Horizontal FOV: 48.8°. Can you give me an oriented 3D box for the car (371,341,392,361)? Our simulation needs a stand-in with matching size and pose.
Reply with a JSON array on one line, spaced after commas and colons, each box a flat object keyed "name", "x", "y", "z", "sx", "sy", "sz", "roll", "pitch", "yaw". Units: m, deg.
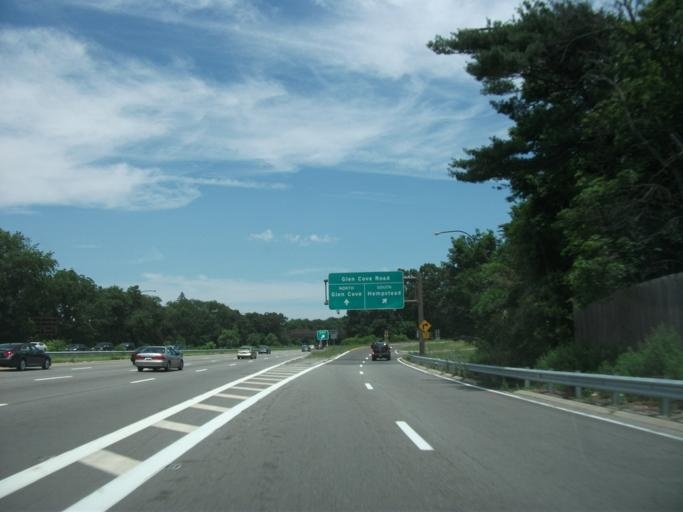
[{"name": "car", "x": 3.165, "y": 7.564, "z": 59.740, "sx": 1.142, "sy": 0.985, "sz": 1.791, "roll": -1, "pitch": -14, "yaw": 0}]
